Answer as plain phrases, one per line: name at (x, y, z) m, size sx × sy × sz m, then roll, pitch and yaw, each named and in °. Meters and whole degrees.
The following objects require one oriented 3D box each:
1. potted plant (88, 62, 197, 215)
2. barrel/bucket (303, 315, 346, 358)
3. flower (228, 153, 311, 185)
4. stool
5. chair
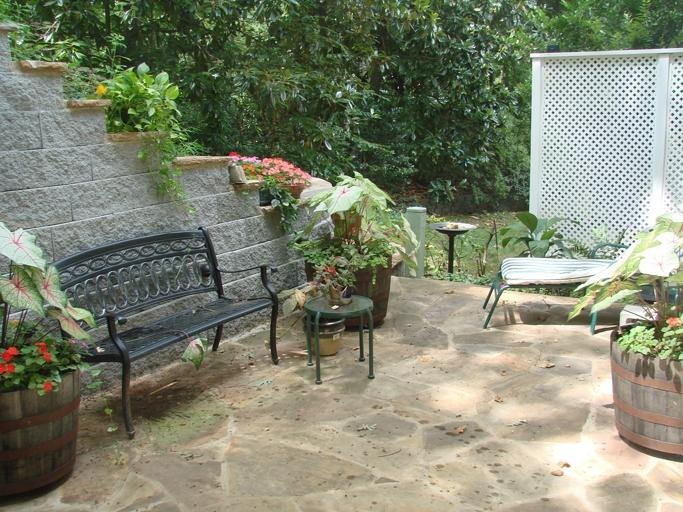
potted plant at (-1.548, -0.934, 4.344) m, size 0.637 × 1.248 × 0.483 m, roll -14°, pitch 26°, yaw -23°
barrel/bucket at (-0.131, 0.709, 4.603) m, size 0.468 × 0.249 × 0.382 m, roll 0°, pitch 0°, yaw -2°
flower at (-0.678, -0.891, 5.508) m, size 0.748 × 0.303 × 0.451 m, roll -10°, pitch 21°, yaw -25°
stool at (-0.039, 0.667, 4.456) m, size 0.916 × 0.631 × 0.719 m, roll -2°, pitch 8°, yaw -1°
chair at (2.061, 0.312, 5.401) m, size 1.434 × 0.568 × 1.041 m, roll 2°, pitch 9°, yaw 12°
